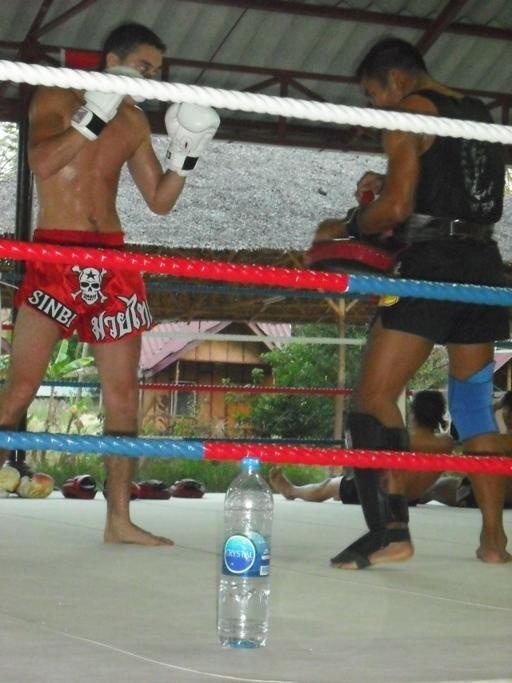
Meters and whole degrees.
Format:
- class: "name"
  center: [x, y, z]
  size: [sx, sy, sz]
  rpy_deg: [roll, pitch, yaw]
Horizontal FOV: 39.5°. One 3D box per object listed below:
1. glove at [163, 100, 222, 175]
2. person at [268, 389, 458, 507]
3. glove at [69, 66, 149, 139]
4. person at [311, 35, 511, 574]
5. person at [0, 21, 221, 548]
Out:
- class: "glove"
  center: [-0.157, -0.494, 1.753]
  size: [0.145, 0.189, 0.083]
  rpy_deg: [11, 39, 3]
- class: "person"
  center: [0.601, 0.593, 3.756]
  size: [1.184, 0.652, 0.503]
  rpy_deg: [-9, -27, 26]
- class: "glove"
  center: [-0.302, -0.433, 1.365]
  size: [0.084, 0.123, 0.074]
  rpy_deg: [3, 0, -24]
- class: "person"
  center: [0.455, -0.115, 1.785]
  size: [0.477, 1.328, 0.394]
  rpy_deg: [4, 0, 4]
- class: "person"
  center: [-0.363, -0.195, 1.749]
  size: [0.463, 1.355, 0.788]
  rpy_deg: [4, 0, -9]
